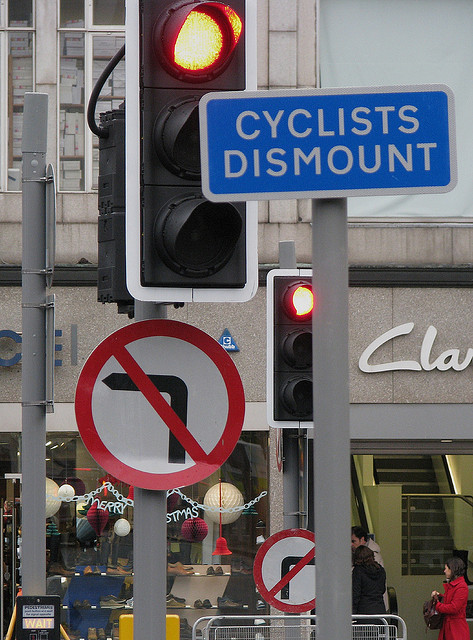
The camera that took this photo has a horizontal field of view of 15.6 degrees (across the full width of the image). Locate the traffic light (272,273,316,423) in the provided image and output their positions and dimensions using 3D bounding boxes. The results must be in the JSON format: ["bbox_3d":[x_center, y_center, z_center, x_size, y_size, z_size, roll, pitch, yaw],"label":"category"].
[{"bbox_3d":[0.460,0.232,13.895,0.324,1.185,0.353,1,-9,-3],"label":"traffic light"}]
